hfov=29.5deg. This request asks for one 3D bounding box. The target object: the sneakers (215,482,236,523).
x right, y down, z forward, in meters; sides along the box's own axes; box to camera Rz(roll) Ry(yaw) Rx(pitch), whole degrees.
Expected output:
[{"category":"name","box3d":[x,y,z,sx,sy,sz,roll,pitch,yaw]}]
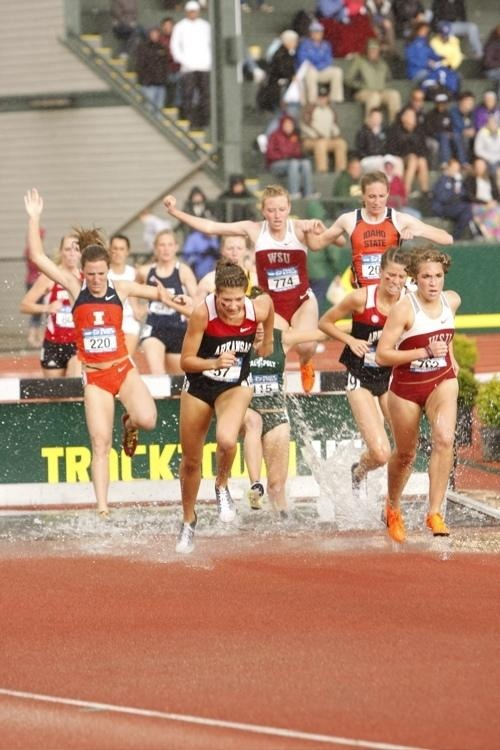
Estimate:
[{"category":"sneakers","box3d":[-0.152,0.804,5.871,0.100,0.262,0.107,-11,-13,0]}]

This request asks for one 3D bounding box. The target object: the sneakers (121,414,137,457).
[{"category":"sneakers","box3d":[-0.832,0.433,6.535,0.116,0.317,0.130,-5,9,-17]}]

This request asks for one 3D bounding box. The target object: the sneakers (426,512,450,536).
[{"category":"sneakers","box3d":[1.040,0.832,5.239,0.075,0.083,0.193,-3,-9,-3]}]

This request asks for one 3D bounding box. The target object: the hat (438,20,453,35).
[{"category":"hat","box3d":[3.322,-5.968,16.222,0.147,0.209,0.273,-49,-8,39]}]

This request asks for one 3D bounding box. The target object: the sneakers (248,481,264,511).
[{"category":"sneakers","box3d":[0.037,0.763,6.013,0.084,0.167,0.079,3,-15,0]}]

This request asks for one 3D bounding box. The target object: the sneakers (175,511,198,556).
[{"category":"sneakers","box3d":[-0.358,0.921,5.521,0.087,0.237,0.097,7,-26,6]}]

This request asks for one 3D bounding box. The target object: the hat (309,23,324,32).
[{"category":"hat","box3d":[1.063,-5.621,15.283,0.182,0.137,0.253,-3,18,1]}]

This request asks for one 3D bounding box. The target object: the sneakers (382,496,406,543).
[{"category":"sneakers","box3d":[0.848,0.862,5.643,0.103,0.108,0.294,-11,40,2]}]

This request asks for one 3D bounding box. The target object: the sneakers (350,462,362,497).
[{"category":"sneakers","box3d":[0.746,0.739,6.685,0.082,0.229,0.091,-2,7,-2]}]
